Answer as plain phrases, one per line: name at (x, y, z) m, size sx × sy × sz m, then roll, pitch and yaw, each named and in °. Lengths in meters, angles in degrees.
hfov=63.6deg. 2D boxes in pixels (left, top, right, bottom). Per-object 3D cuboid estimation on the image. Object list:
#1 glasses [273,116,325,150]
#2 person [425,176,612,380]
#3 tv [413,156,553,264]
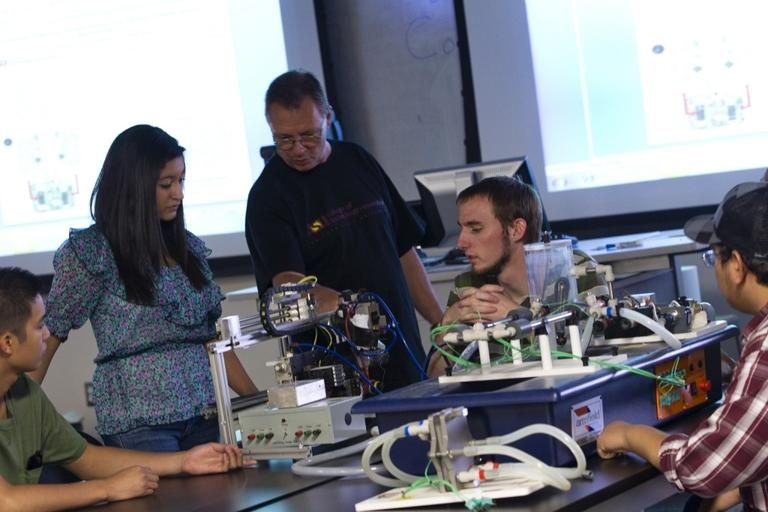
glasses at (-0.350, -0.502, 2.630) m, size 0.225 × 0.098 × 0.124 m, roll -11°, pitch 7°, yaw -9°
person at (0.391, 0.069, 2.508) m, size 0.484 × 0.742 × 0.608 m, roll -6°, pitch 8°, yaw 21°
tv at (0.473, -0.219, 3.066) m, size 0.713 × 0.543 × 0.345 m, roll -6°, pitch 12°, yaw 34°
